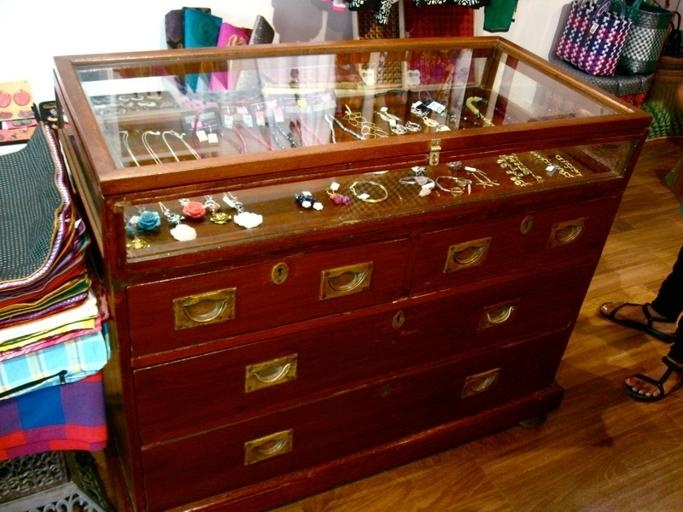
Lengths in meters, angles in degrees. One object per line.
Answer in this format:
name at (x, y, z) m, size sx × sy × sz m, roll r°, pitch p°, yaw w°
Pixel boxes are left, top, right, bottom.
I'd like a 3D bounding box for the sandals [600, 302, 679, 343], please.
sandals at (1.518, 0.321, 2.649) m, size 0.441 × 0.127 × 0.135 m, roll 17°, pitch 48°, yaw 14°
